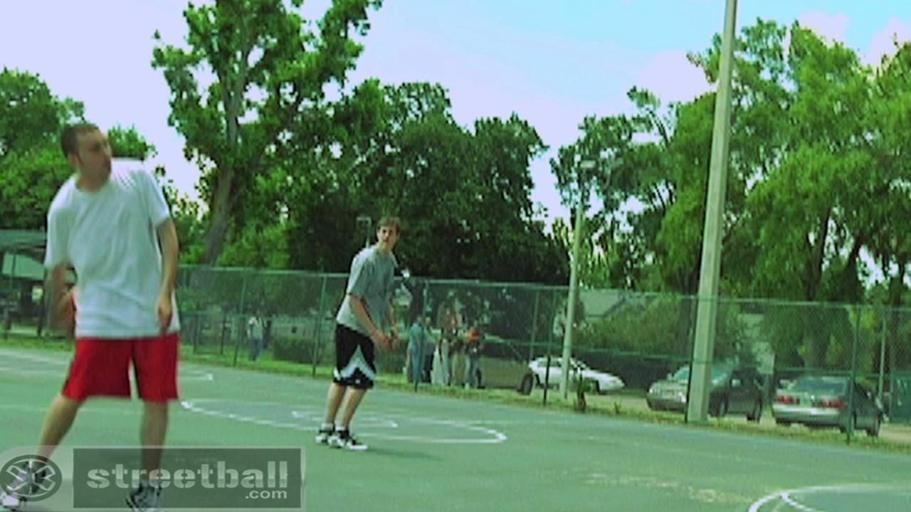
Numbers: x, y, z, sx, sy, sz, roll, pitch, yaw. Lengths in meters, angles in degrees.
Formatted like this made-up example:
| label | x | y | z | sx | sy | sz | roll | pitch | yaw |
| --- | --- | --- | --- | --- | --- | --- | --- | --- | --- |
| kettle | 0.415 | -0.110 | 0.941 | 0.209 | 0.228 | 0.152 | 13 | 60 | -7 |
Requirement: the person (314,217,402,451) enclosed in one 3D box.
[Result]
| label | x | y | z | sx | sy | sz | roll | pitch | yaw |
| --- | --- | --- | --- | --- | --- | --- | --- | --- | --- |
| person | -1.756 | 1.418 | 19.492 | 1.307 | 3.391 | 0.671 | 3 | 1 | -7 |

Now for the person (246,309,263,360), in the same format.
| label | x | y | z | sx | sy | sz | roll | pitch | yaw |
| --- | --- | --- | --- | --- | --- | --- | --- | --- | --- |
| person | -6.376 | 2.557 | 33.660 | 0.483 | 1.809 | 0.478 | 0 | -31 | -8 |
